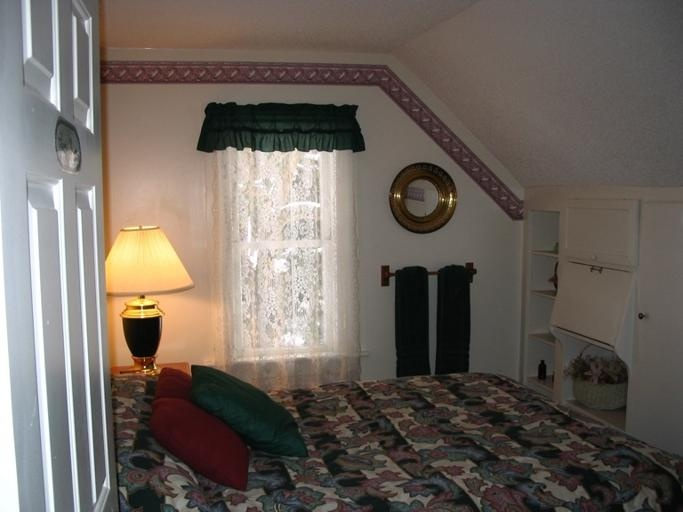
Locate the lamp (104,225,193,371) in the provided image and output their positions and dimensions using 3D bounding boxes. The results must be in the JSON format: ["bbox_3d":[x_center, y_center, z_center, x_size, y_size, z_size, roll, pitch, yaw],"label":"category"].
[{"bbox_3d":[-1.157,0.273,3.112,0.473,0.882,0.341,-4,8,-24],"label":"lamp"}]

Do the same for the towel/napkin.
[{"bbox_3d":[0.738,0.503,4.017,0.682,0.845,0.189,-3,8,-14],"label":"towel/napkin"}]

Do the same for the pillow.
[{"bbox_3d":[-0.449,0.597,2.017,0.379,0.179,0.518,26,1,-4],"label":"pillow"}]

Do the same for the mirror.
[{"bbox_3d":[0.637,-0.454,3.994,0.540,0.540,0.120,-4,8,-23],"label":"mirror"}]

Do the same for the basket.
[{"bbox_3d":[1.758,0.886,3.660,0.397,0.432,0.311,-2,0,10],"label":"basket"}]
